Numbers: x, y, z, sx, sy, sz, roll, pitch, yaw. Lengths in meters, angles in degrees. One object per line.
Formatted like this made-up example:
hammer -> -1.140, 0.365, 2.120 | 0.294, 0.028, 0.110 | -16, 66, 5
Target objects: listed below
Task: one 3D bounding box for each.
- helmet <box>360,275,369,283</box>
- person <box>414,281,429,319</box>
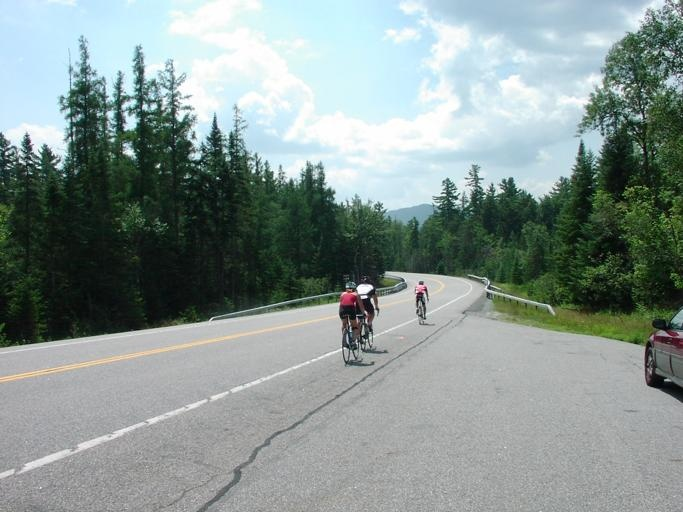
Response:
helmet -> 0.773, 0.796, 21.733 | 0.243, 0.386, 0.346 | 4, -2, 2
person -> 3.675, 2.121, 29.065 | 0.572, 1.530, 2.356 | 1, -15, 19
